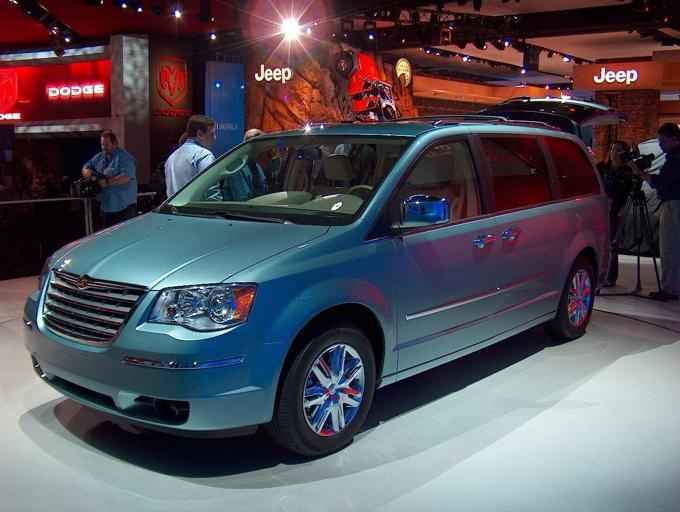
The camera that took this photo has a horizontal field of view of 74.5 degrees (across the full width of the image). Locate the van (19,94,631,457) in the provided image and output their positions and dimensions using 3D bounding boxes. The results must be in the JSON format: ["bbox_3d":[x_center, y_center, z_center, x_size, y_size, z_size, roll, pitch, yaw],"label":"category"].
[{"bbox_3d":[0.321,0.089,3.910,4.753,1.630,2.375,-5,7,-41],"label":"van"}]

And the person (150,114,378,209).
[{"bbox_3d":[-0.511,-0.735,3.961,1.904,0.726,1.011,-2,14,-6],"label":"person"}]
